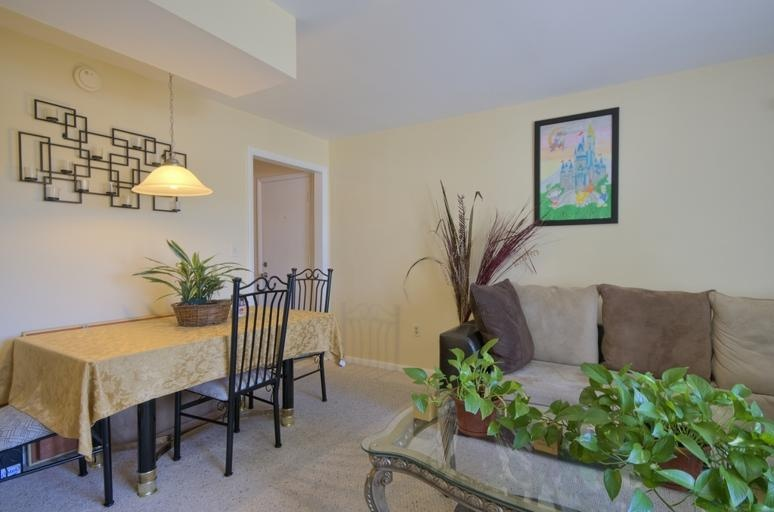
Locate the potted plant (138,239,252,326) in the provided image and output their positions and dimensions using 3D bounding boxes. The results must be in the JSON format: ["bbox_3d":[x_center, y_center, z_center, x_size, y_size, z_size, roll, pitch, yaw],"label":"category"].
[{"bbox_3d":[-1.505,0.278,4.108,0.743,0.533,0.791,-2,-9,18],"label":"potted plant"}]

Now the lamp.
[{"bbox_3d":[-1.736,-0.932,3.928,0.580,1.032,0.918,-5,15,-19],"label":"lamp"}]

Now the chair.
[{"bbox_3d":[-1.055,0.949,3.896,0.590,1.236,1.426,1,-2,21],"label":"chair"}]

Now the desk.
[{"bbox_3d":[-1.853,0.815,3.464,1.113,0.825,1.668,-2,-2,38],"label":"desk"}]
